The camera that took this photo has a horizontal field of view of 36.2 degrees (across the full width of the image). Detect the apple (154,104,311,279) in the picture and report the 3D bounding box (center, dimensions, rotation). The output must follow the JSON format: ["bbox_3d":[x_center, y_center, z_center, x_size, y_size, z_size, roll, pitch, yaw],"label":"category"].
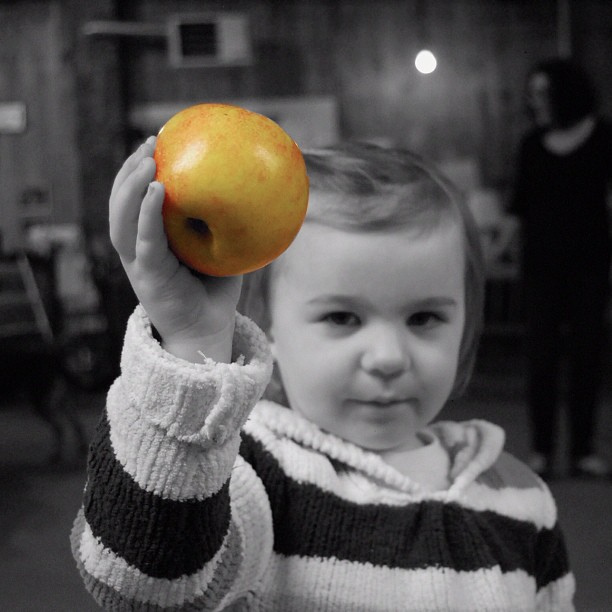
[{"bbox_3d":[-0.056,-0.081,0.759,0.116,0.122,0.117,-23,9,10],"label":"apple"}]
